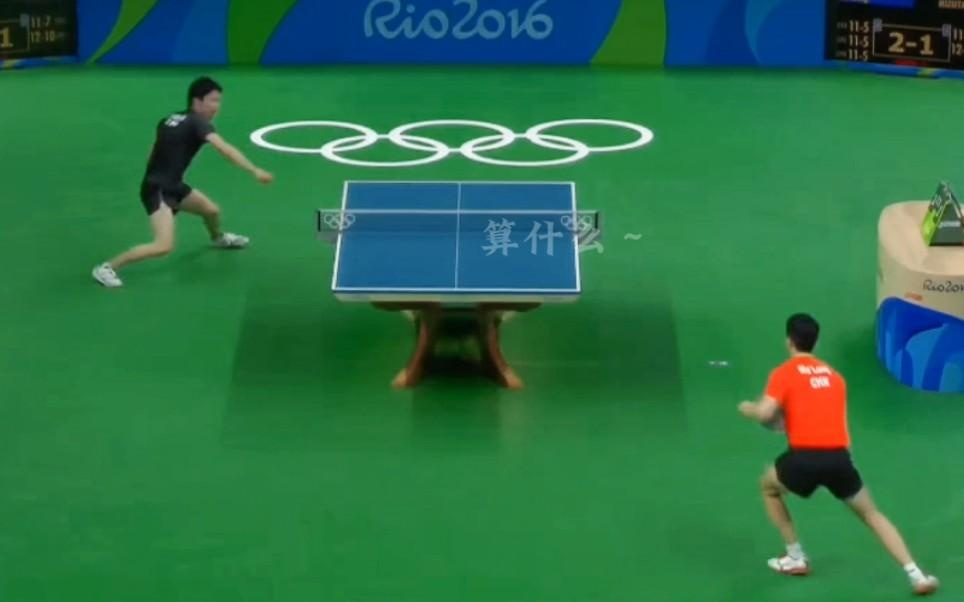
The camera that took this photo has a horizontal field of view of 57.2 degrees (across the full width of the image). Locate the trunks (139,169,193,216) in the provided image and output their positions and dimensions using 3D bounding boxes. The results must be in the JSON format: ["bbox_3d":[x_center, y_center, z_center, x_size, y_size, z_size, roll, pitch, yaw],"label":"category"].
[{"bbox_3d":[-3.798,-1.280,10.632,0.660,0.503,0.438,-3,8,-25],"label":"trunks"}]

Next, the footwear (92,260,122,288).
[{"bbox_3d":[-4.431,-0.321,10.460,0.316,0.266,0.280,-5,14,-25],"label":"footwear"}]

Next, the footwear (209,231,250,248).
[{"bbox_3d":[-3.136,-0.769,10.992,0.363,0.087,0.213,0,30,0],"label":"footwear"}]

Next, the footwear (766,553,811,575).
[{"bbox_3d":[2.758,2.362,8.016,0.392,0.172,0.154,6,30,18],"label":"footwear"}]

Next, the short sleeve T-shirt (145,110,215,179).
[{"bbox_3d":[-3.674,-1.892,10.858,1.080,0.757,0.354,29,4,36],"label":"short sleeve T-shirt"}]

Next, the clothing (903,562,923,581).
[{"bbox_3d":[3.735,2.315,7.616,0.178,0.165,0.051,-7,-19,-26],"label":"clothing"}]
